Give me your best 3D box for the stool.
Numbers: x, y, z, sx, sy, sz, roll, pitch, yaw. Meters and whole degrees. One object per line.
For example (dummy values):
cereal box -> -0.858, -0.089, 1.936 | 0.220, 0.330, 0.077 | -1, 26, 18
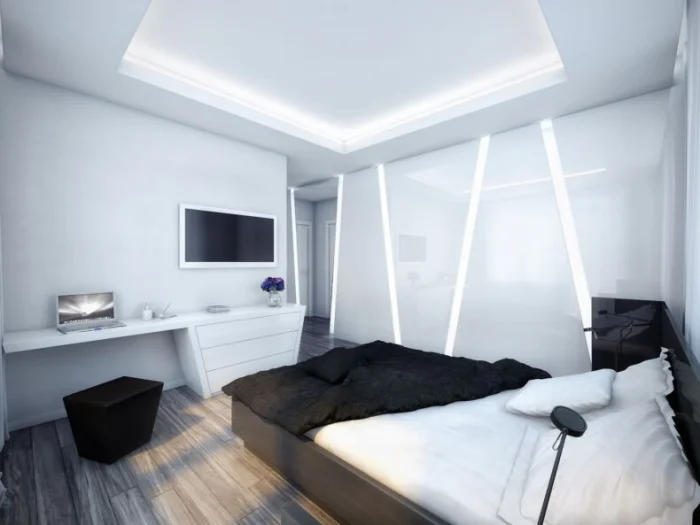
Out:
stool -> -1.977, 1.226, 3.540 | 0.530, 0.587, 0.668 | 6, 6, 34

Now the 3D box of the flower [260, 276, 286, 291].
flower -> -0.980, 0.284, 5.210 | 0.206, 0.177, 0.207 | 1, -4, -32

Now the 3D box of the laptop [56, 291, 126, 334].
laptop -> -2.451, 0.452, 3.879 | 0.451, 0.351, 0.275 | -1, 0, -35
